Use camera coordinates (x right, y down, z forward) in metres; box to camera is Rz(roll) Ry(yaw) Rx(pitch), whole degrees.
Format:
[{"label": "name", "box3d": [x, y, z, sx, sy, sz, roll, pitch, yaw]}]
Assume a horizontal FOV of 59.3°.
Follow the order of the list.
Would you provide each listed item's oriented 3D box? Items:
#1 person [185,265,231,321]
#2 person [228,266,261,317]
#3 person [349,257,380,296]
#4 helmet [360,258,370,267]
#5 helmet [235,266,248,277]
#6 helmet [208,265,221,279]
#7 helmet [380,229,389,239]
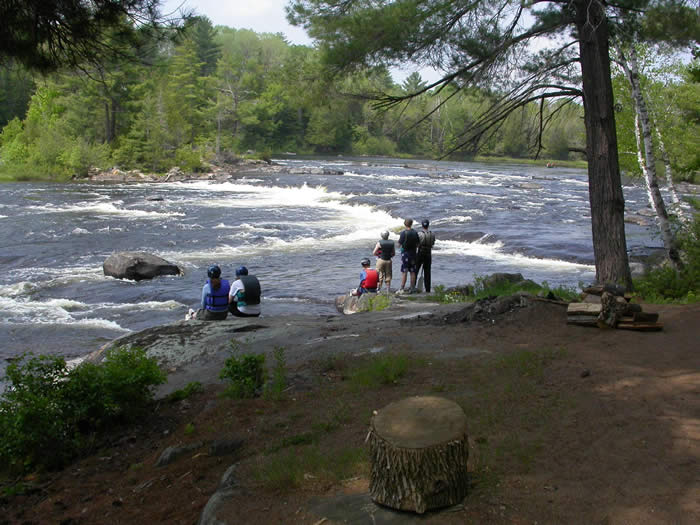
[{"label": "person", "box3d": [-3.338, 0.734, 14.520, 0.749, 1.325, 1.217, -4, 9, -34]}, {"label": "person", "box3d": [-2.649, 0.695, 14.898, 1.192, 1.221, 0.875, 1, 2, 45]}, {"label": "person", "box3d": [0.436, 0.413, 16.799, 0.599, 0.977, 0.728, 0, 5, -16]}, {"label": "helmet", "box3d": [0.420, 0.029, 16.656, 0.228, 0.299, 0.298, 2, 8, -3]}, {"label": "helmet", "box3d": [-2.567, 0.232, 14.618, 0.227, 0.298, 0.306, -3, 12, -18]}, {"label": "helmet", "box3d": [-3.097, 0.223, 14.058, 0.232, 0.279, 0.294, -4, 19, -28]}, {"label": "helmet", "box3d": [0.947, -0.766, 16.946, 0.199, 0.222, 0.179, -33, 51, -22]}]
